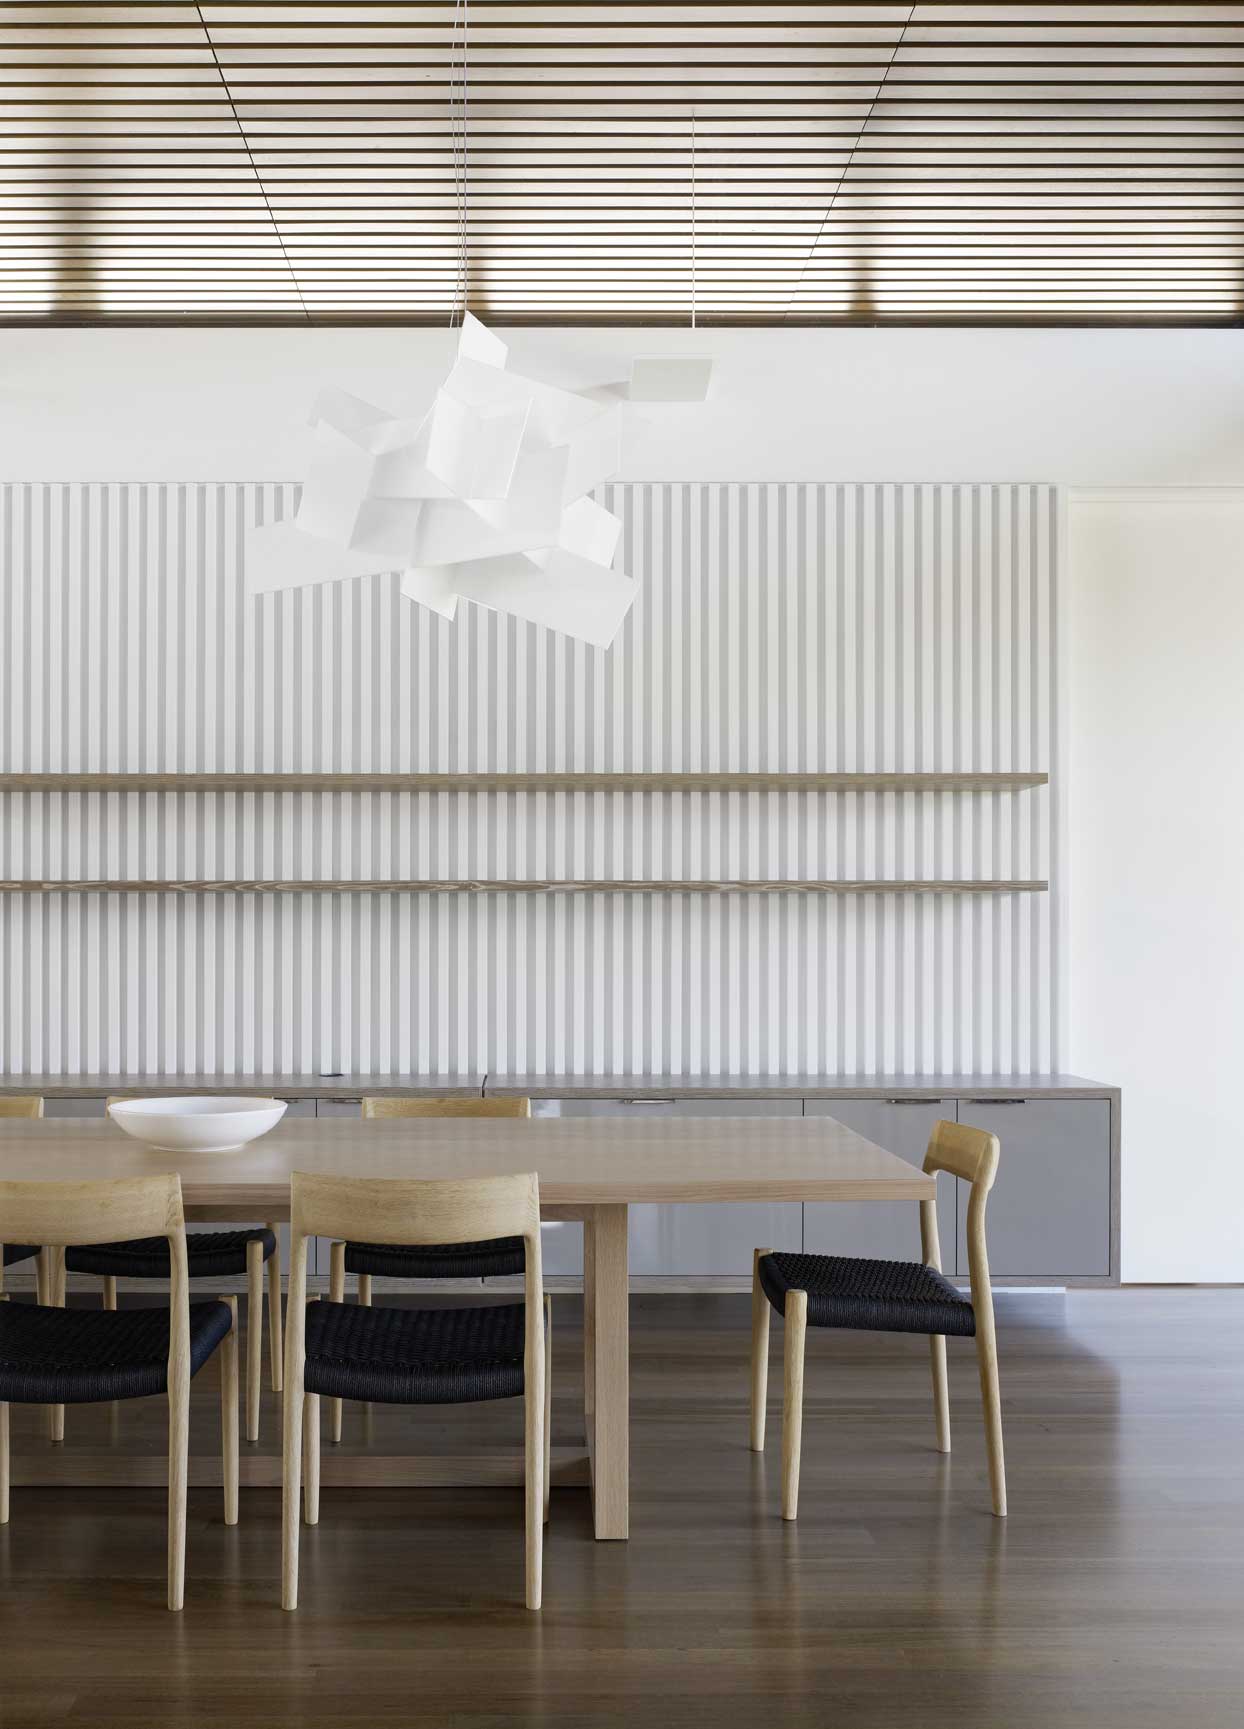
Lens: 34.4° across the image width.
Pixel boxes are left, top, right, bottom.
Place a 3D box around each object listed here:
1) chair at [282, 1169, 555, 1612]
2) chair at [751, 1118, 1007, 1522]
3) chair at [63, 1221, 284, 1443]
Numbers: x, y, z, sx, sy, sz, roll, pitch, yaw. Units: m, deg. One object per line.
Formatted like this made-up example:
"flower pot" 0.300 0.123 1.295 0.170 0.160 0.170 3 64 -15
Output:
"chair" -0.393 0.925 3.839 0.608 1.075 0.710 0 -2 -4
"chair" 0.555 0.973 4.562 0.642 1.029 0.754 1 -7 -5
"chair" -1.028 1.095 4.708 0.424 0.407 0.344 -21 3 -3
